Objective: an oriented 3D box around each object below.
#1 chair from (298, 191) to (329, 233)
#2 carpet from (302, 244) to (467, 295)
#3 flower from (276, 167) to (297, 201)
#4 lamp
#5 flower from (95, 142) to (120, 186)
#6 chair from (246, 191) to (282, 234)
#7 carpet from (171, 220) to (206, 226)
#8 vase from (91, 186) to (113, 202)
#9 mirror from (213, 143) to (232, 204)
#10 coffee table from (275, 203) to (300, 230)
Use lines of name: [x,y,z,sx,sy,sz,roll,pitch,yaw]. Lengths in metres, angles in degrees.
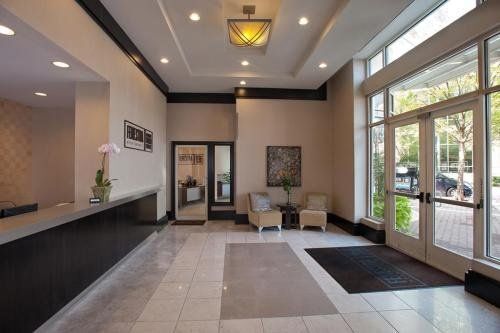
chair: [1.624,1.136,8.134,0.621,0.861,0.801,1,4,16]
carpet: [2.292,1.816,6.031,2.412,0.014,2.195,-1,8,-33]
flower: [0.947,0.521,8.384,0.473,0.921,0.685,1,4,14]
lamp: [-0.004,-2.708,6.313,0.829,0.564,1.001,0,4,2]
flower: [-2.511,-0.056,5.581,0.363,0.746,0.437,-2,4,-23]
chair: [0.345,1.144,8.179,0.636,0.885,0.882,-1,4,-21]
carpet: [-1.689,1.525,8.695,0.841,0.012,0.622,0,4,-3]
vase: [-2.560,0.444,5.492,0.305,0.255,0.271,0,2,-2]
mirror: [-0.820,0.227,9.145,0.676,2.227,0.117,-2,31,-7]
coffee table: [0.937,1.323,8.340,0.646,0.706,0.670,1,2,-39]
